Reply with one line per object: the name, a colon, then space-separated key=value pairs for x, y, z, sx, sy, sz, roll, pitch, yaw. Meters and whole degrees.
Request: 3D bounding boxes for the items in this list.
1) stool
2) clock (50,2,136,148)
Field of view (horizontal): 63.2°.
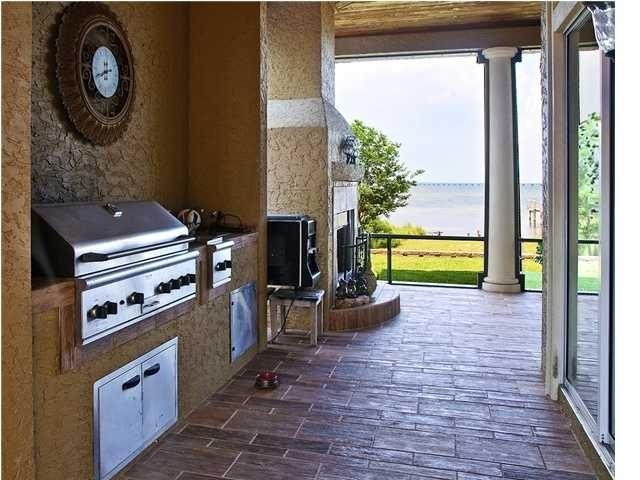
stool: x=-0.198 y=0.736 z=4.925 sx=0.451 sy=0.498 sz=0.475 roll=2 pitch=6 yaw=22
clock: x=-1.428 y=-1.064 z=3.316 sx=0.147 sy=0.896 sz=0.620 roll=2 pitch=8 yaw=11
